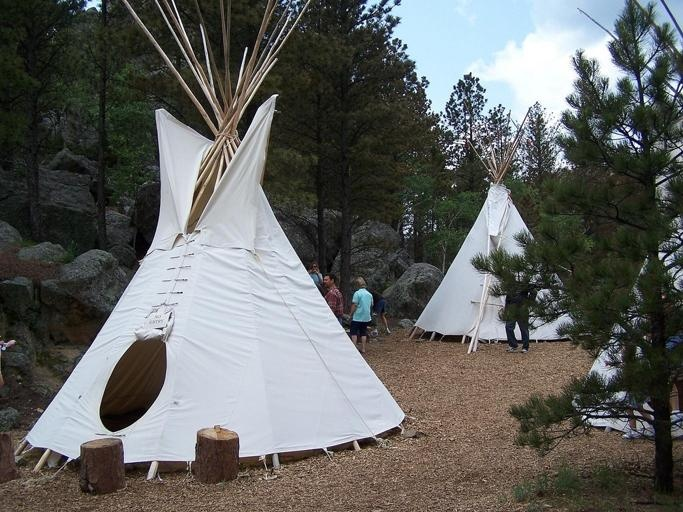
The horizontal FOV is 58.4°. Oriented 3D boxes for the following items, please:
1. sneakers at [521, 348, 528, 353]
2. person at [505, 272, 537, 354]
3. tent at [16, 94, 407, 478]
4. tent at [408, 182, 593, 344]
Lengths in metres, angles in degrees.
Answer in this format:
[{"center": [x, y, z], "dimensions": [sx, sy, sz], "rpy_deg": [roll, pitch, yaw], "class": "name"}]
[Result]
[{"center": [3.550, 1.832, 11.822], "dimensions": [0.061, 0.074, 0.164], "rpy_deg": [-2, -12, 7], "class": "sneakers"}, {"center": [1.767, 0.533, 6.107], "dimensions": [0.274, 0.913, 0.234], "rpy_deg": [1, 19, 17], "class": "person"}, {"center": [-1.679, 0.075, 8.559], "dimensions": [4.796, 5.223, 4.659], "rpy_deg": [3, -1, 15], "class": "tent"}, {"center": [3.544, -0.365, 13.758], "dimensions": [2.618, 3.145, 2.358], "rpy_deg": [15, -14, -7], "class": "tent"}]
